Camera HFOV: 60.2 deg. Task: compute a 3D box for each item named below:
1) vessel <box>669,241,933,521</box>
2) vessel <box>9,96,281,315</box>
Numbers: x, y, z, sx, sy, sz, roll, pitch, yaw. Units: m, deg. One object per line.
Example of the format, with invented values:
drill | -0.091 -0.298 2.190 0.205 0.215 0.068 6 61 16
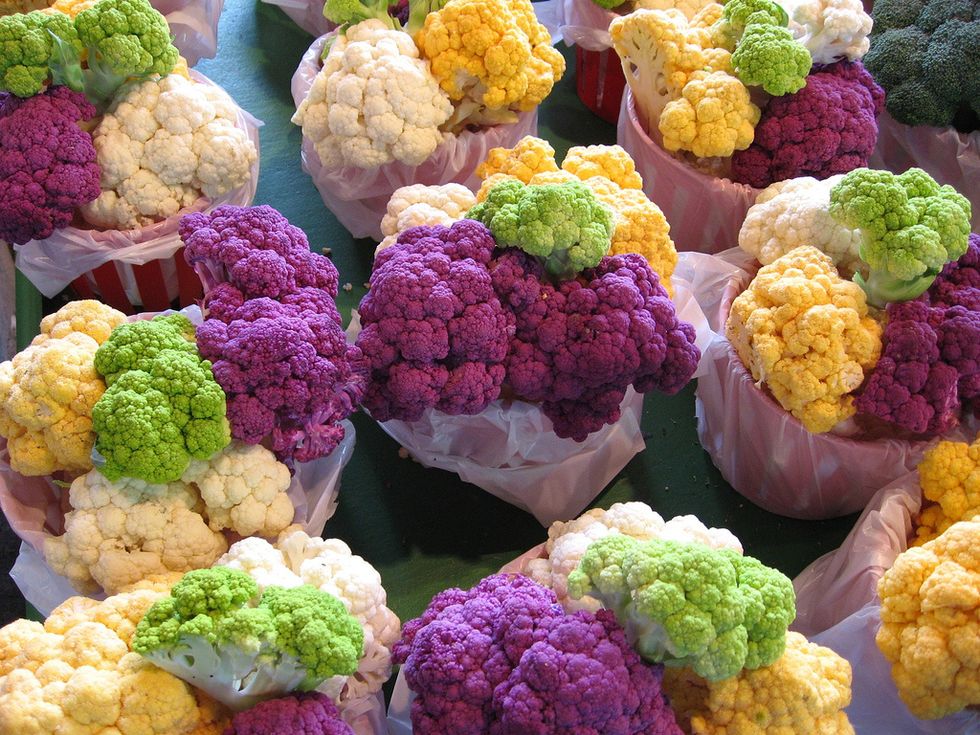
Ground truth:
vessel | 1.083 0.160 3.407 0.900 0.610 0.917 25 60 10
vessel | -1.459 -0.517 3.742 0.857 0.633 0.922 -22 78 -11
